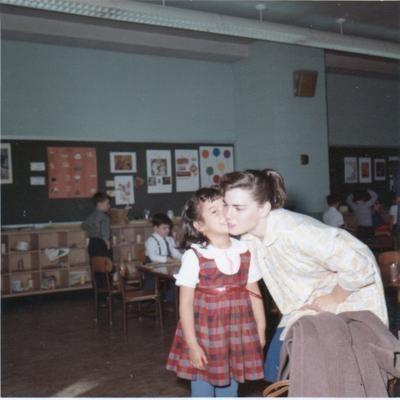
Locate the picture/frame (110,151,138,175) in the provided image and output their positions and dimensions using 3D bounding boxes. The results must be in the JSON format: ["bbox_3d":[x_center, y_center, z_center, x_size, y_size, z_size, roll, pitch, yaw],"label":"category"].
[{"bbox_3d":[-1.336,-0.649,6.246,0.418,0.311,0.015,-4,7,-24],"label":"picture/frame"}]

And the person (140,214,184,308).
[{"bbox_3d":[-0.477,0.852,4.980,0.530,1.336,0.566,-9,19,-30],"label":"person"}]

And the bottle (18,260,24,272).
[{"bbox_3d":[-2.721,0.983,5.539,0.078,0.166,0.102,-3,0,-29],"label":"bottle"}]

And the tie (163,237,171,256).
[{"bbox_3d":[-0.435,0.630,4.883,0.047,0.189,0.167,-17,16,2],"label":"tie"}]

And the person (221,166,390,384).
[{"bbox_3d":[0.381,0.311,1.362,0.559,0.771,0.284,-3,0,25],"label":"person"}]

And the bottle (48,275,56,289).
[{"bbox_3d":[-2.297,1.259,5.689,0.107,0.210,0.274,-3,0,-21],"label":"bottle"}]

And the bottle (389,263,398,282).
[{"bbox_3d":[2.158,0.819,4.045,0.086,0.234,0.450,-3,0,28],"label":"bottle"}]

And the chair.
[{"bbox_3d":[-0.942,1.247,4.609,0.576,0.799,0.879,-4,3,-40],"label":"chair"}]

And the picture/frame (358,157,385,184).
[{"bbox_3d":[3.487,-0.616,7.481,0.600,0.409,0.026,-2,2,-30],"label":"picture/frame"}]
